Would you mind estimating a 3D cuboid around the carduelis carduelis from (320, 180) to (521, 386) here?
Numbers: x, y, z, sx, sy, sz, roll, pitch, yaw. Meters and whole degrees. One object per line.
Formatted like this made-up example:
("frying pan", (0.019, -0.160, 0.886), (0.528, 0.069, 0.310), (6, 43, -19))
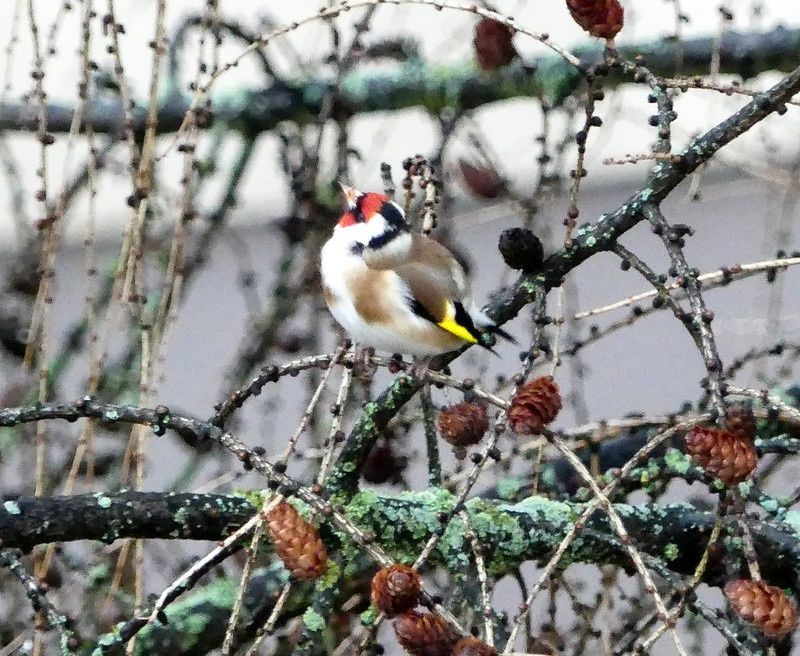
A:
("carduelis carduelis", (-0.007, -0.120, 3.961), (0.530, 0.419, 0.315), (14, 6, 7))
